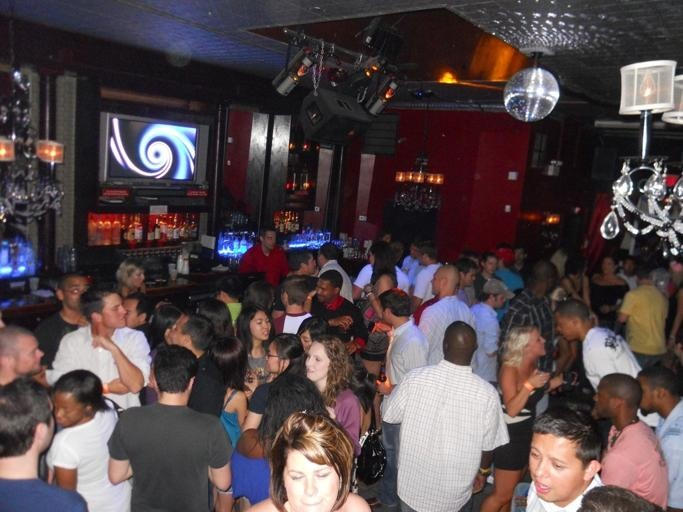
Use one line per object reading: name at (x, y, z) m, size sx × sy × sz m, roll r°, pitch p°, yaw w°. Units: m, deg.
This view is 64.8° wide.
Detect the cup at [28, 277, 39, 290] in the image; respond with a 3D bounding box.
cup at (-3.536, 0.319, 6.163) m, size 0.132 × 0.143 × 0.131 m, roll 1°, pitch -4°, yaw 0°

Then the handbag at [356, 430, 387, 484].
handbag at (0.220, 1.493, 3.960) m, size 0.205 × 0.421 × 0.203 m, roll 2°, pitch 6°, yaw 4°

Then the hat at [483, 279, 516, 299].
hat at (1.507, 0.338, 5.133) m, size 0.276 × 0.168 × 0.184 m, roll 4°, pitch 13°, yaw 10°

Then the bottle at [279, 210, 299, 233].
bottle at (-0.974, -0.612, 9.611) m, size 0.188 × 0.364 × 0.363 m, roll -15°, pitch -10°, yaw 36°

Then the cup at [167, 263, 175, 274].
cup at (-2.293, 0.171, 7.283) m, size 0.118 × 0.143 × 0.121 m, roll 3°, pitch -2°, yaw 0°

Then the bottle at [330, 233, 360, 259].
bottle at (0.096, -0.176, 10.130) m, size 0.554 × 0.197 × 0.400 m, roll 32°, pitch 21°, yaw 25°

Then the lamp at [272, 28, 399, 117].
lamp at (-0.060, -1.961, 5.688) m, size 0.486 × 0.619 × 0.997 m, roll 20°, pitch 12°, yaw 35°

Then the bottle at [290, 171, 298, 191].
bottle at (-0.855, -1.320, 9.551) m, size 0.035 × 0.310 × 0.161 m, roll 4°, pitch 6°, yaw 23°

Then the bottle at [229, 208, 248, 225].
bottle at (-1.727, -0.632, 8.903) m, size 0.291 × 0.215 × 0.586 m, roll 1°, pitch 6°, yaw -14°

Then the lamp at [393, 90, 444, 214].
lamp at (1.376, -1.667, 9.355) m, size 0.862 × 1.801 × 1.605 m, roll 2°, pitch 6°, yaw 6°

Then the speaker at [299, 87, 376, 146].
speaker at (-0.118, -1.556, 6.144) m, size 0.785 × 0.561 × 0.596 m, roll 0°, pitch 34°, yaw -46°
